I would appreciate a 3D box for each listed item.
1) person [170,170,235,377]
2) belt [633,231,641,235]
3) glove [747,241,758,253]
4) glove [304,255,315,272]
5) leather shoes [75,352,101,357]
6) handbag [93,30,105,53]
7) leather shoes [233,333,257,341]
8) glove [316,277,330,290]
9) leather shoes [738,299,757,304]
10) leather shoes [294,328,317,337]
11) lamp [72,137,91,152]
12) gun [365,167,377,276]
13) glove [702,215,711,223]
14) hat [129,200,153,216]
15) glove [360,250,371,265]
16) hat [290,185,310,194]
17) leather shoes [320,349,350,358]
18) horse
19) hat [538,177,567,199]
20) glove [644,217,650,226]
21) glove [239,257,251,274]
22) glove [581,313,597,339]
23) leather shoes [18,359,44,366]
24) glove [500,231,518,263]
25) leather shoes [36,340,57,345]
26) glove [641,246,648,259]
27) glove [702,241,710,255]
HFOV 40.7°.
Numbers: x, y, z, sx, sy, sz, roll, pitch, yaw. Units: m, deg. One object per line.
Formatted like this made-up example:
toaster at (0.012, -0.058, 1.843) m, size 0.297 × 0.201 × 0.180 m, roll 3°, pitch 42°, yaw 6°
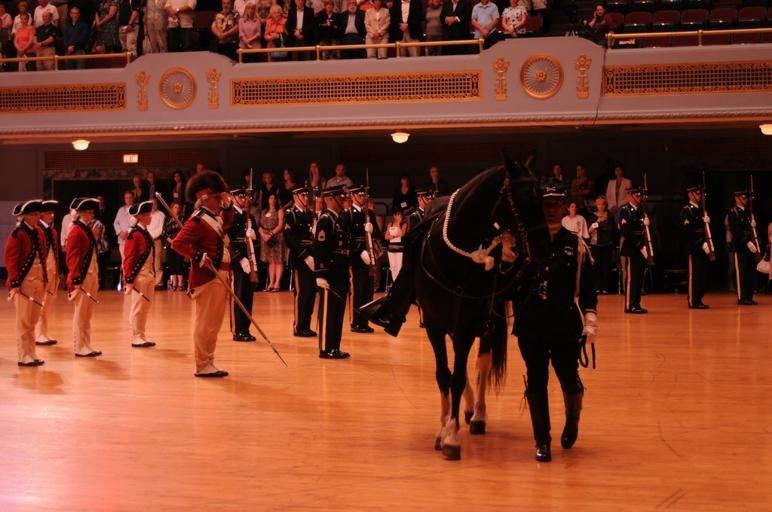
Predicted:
person at (-2.382, 0.239, 14.015) m, size 0.677 × 2.809 × 0.826 m, roll 1°, pitch -2°, yaw 19°
belt at (4.566, -0.426, 18.865) m, size 0.209 × 0.088 × 0.051 m, roll 2°, pitch -2°, yaw -38°
glove at (6.786, -0.180, 19.281) m, size 0.200 × 0.071 × 0.149 m, roll 42°, pitch 26°, yaw 11°
glove at (-1.130, 0.133, 15.744) m, size 0.151 × 0.247 × 0.184 m, roll -20°, pitch 35°, yaw 5°
leather shoes at (-4.323, 1.412, 15.137) m, size 0.342 × 0.085 × 0.119 m, roll -1°, pitch -1°, yaw 0°
handbag at (-5.879, -4.405, 21.353) m, size 0.355 × 0.435 × 0.152 m, roll -1°, pitch 0°, yaw 22°
leather shoes at (-2.180, 1.258, 16.167) m, size 0.352 × 0.142 × 0.127 m, roll -2°, pitch -3°, yaw 12°
glove at (-0.918, 0.390, 15.193) m, size 0.192 × 0.160 × 0.139 m, roll -10°, pitch 15°, yaw -3°
leather shoes at (6.671, 0.855, 19.223) m, size 0.313 × 0.114 × 0.111 m, roll -1°, pitch 1°, yaw 7°
leather shoes at (-1.277, 1.210, 16.428) m, size 0.363 × 0.139 × 0.128 m, roll -6°, pitch -7°, yaw 32°
lamp at (-6.220, -2.315, 21.316) m, size 0.493 × 0.310 × 0.474 m, roll 0°, pitch -3°, yaw -16°
gun at (-0.268, -0.632, 18.425) m, size 0.190 × 2.322 × 0.486 m, roll 0°, pitch 3°, yaw -2°
glove at (5.849, -0.667, 19.057) m, size 0.134 × 0.055 × 0.171 m, roll 4°, pitch 26°, yaw 4°
hat at (-3.712, -0.722, 15.800) m, size 0.296 × 0.147 × 0.243 m, roll -18°, pitch 4°, yaw 32°
glove at (-0.284, 0.022, 16.542) m, size 0.158 × 0.068 × 0.210 m, roll 35°, pitch -17°, yaw 39°
hat at (-1.415, -1.054, 16.546) m, size 0.308 × 0.106 × 0.223 m, roll -10°, pitch 3°, yaw 24°
leather shoes at (-0.724, 1.396, 14.984) m, size 0.438 × 0.173 × 0.155 m, roll -2°, pitch -3°, yaw 3°
horse at (1.001, 0.629, 11.494) m, size 0.654 × 3.300 × 1.681 m, roll 3°, pitch -2°, yaw -43°
hat at (1.816, -0.744, 11.426) m, size 0.252 × 0.122 × 0.346 m, roll 1°, pitch 6°, yaw 1°
glove at (4.736, -0.641, 18.966) m, size 0.096 × 0.127 × 0.039 m, roll -1°, pitch -8°, yaw -6°
glove at (-2.072, 0.147, 15.424) m, size 0.075 × 0.212 × 0.163 m, roll -7°, pitch 18°, yaw -16°
glove at (2.244, 0.787, 11.757) m, size 0.231 × 0.303 × 0.262 m, roll 3°, pitch -13°, yaw -3°
leather shoes at (-4.986, 1.517, 14.668) m, size 0.243 × 0.070 × 0.127 m, roll -1°, pitch -2°, yaw -3°
glove at (1.316, -0.096, 11.207) m, size 0.107 × 0.281 × 0.215 m, roll 0°, pitch 3°, yaw -12°
leather shoes at (-5.195, 1.328, 15.955) m, size 0.286 × 0.073 × 0.100 m, roll -2°, pitch -2°, yaw -1°
glove at (4.653, -0.077, 18.750) m, size 0.125 × 0.197 × 0.053 m, roll -27°, pitch -9°, yaw 2°
glove at (5.758, -0.143, 18.748) m, size 0.119 × 0.197 × 0.072 m, roll -26°, pitch -8°, yaw 29°
